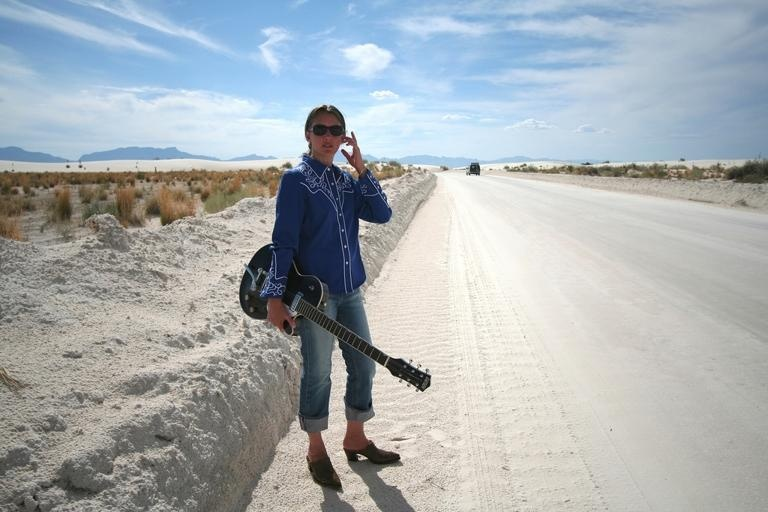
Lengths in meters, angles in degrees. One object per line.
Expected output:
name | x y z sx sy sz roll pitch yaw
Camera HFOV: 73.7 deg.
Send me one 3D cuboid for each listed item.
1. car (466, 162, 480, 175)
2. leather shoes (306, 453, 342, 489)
car | 10.749 -10.465 61.204 1.173 1.291 1.981 0 12 1
leather shoes | -0.619 2.108 5.025 0.191 0.186 0.437 3 1 -36
